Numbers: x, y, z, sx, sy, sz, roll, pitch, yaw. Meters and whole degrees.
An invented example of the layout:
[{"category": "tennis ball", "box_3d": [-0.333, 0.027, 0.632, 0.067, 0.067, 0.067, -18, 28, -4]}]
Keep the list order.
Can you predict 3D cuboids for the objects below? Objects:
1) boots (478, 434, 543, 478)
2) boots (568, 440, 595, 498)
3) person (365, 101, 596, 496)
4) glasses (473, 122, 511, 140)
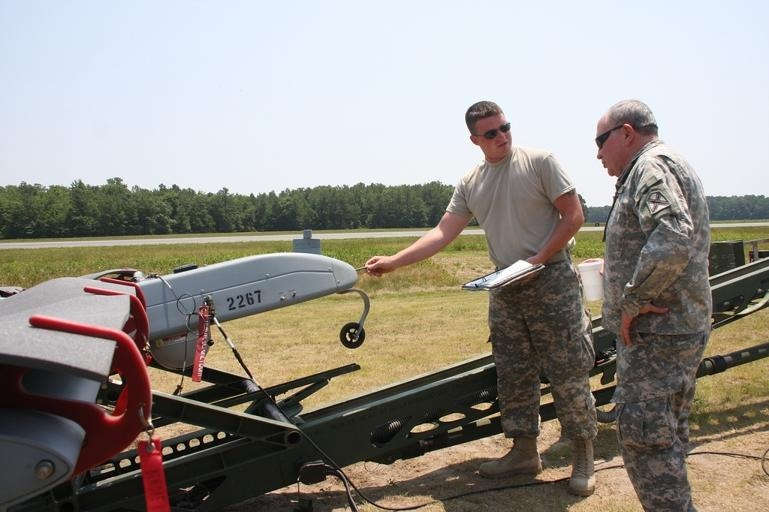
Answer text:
[{"category": "boots", "box_3d": [0.926, 1.612, 5.160, 0.607, 0.415, 0.215, 2, -4, 2]}, {"category": "boots", "box_3d": [1.480, 1.584, 4.848, 0.194, 0.425, 0.206, -4, -1, 16]}, {"category": "person", "box_3d": [0.949, 0.328, 4.912, 1.158, 3.002, 0.646, -4, -1, 19]}, {"category": "glasses", "box_3d": [0.830, -0.929, 4.759, 0.205, 0.128, 0.158, -4, -1, 3]}]
